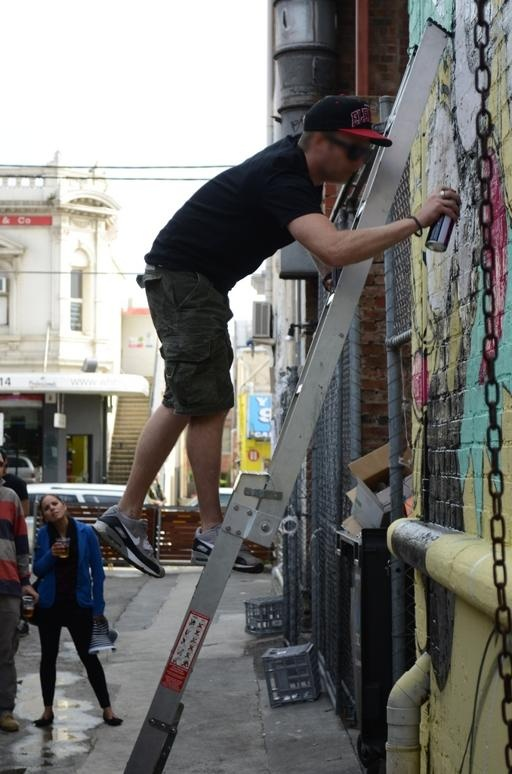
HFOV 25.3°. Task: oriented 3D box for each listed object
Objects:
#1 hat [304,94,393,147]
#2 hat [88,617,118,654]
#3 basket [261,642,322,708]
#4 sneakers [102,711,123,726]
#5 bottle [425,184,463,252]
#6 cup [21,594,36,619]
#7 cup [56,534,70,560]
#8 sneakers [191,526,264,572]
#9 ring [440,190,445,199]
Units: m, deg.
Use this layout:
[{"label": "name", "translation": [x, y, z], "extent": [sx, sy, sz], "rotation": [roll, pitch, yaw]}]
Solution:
[{"label": "hat", "translation": [0.310, -0.945, 4.036], "extent": [0.314, 0.163, 0.202], "rotation": [12, 10, 24]}, {"label": "hat", "translation": [-1.074, 1.714, 7.842], "extent": [0.169, 0.231, 0.283], "rotation": [-1, 1, -10]}, {"label": "basket", "translation": [0.257, 2.122, 8.587], "extent": [0.403, 0.405, 0.414], "rotation": [-6, 2, 12]}, {"label": "sneakers", "translation": [-1.027, 2.321, 8.020], "extent": [0.091, 0.061, 0.230], "rotation": [3, -6, -19]}, {"label": "bottle", "translation": [0.628, -0.558, 3.880], "extent": [0.071, 0.249, 0.067], "rotation": [12, -38, 10]}, {"label": "cup", "translation": [-1.555, 1.500, 7.745], "extent": [0.082, 0.195, 0.275], "rotation": [-1, 1, -12]}, {"label": "cup", "translation": [-1.352, 1.111, 7.886], "extent": [0.095, 0.147, 0.178], "rotation": [-1, 1, -6]}, {"label": "sneakers", "translation": [-0.140, 0.615, 4.352], "extent": [0.362, 0.219, 0.121], "rotation": [4, -3, 0]}, {"label": "ring", "translation": [0.639, -0.662, 3.928], "extent": [0.020, 0.024, 0.006], "rotation": [8, -12, 8]}]
